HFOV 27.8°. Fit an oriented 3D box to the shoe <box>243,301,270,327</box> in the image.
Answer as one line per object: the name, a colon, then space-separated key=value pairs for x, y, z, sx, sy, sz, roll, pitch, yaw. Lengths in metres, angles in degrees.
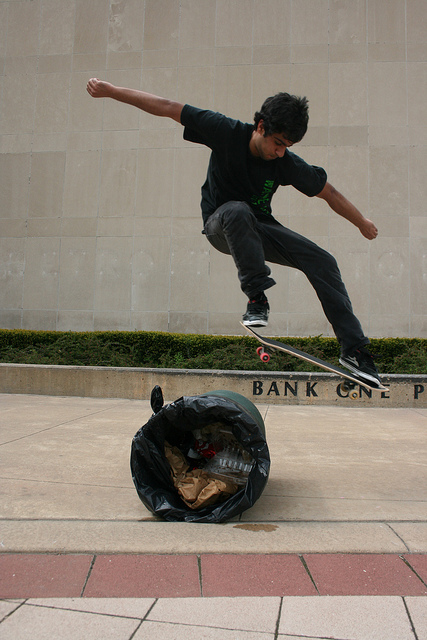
shoe: x=0.349 y=-0.042 z=7.260 sx=0.210 sy=0.245 sz=0.305 roll=2 pitch=8 yaw=12

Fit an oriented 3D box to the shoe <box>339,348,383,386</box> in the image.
shoe: x=1.267 y=0.352 z=7.467 sx=0.424 sy=0.252 sz=0.183 roll=39 pitch=5 yaw=5

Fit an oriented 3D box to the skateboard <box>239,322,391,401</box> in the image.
skateboard: x=1.243 y=0.549 z=10.627 sx=1.366 sy=0.240 sz=0.356 roll=32 pitch=0 yaw=-2
